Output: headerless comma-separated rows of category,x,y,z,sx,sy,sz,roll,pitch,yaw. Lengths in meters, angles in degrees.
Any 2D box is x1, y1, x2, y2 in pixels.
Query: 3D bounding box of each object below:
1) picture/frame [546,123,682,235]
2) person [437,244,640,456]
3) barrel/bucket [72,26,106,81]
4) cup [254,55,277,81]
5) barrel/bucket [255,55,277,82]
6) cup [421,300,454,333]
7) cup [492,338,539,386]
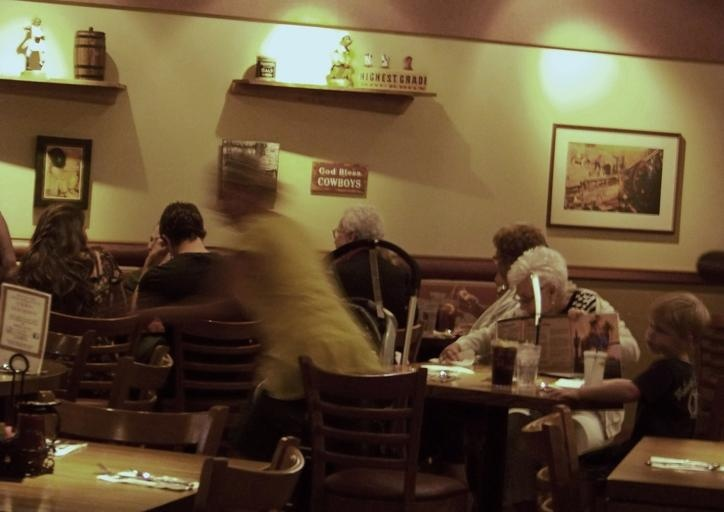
picture/frame,2.148,-0.678,5.447,0.984,0.709,0.023,3,-3,-10
person,0.787,0.443,3.033,0.775,1.114,0.927,10,-16,-20
barrel/bucket,-2.136,-1.575,4.917,0.246,0.405,0.251,4,13,-1
cup,-0.784,-1.494,5.027,0.195,0.208,0.184,1,3,0
barrel/bucket,-0.776,-1.503,4.993,0.188,0.195,0.186,2,4,0
cup,0.524,0.409,4.319,0.219,0.401,0.221,-1,2,0
cup,0.611,0.423,2.477,0.176,0.141,0.191,1,-6,0
